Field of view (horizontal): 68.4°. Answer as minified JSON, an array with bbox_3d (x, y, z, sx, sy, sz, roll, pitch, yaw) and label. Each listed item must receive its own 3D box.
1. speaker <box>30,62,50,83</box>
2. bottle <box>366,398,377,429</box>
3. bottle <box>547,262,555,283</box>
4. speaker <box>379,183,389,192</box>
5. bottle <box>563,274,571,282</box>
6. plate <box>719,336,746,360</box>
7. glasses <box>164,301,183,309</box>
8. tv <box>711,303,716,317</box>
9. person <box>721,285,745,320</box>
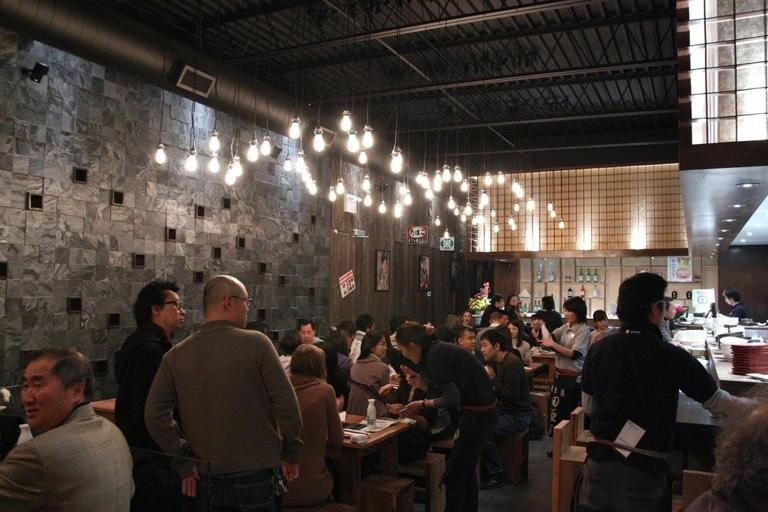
[{"bbox_3d":[-4.375,-2.318,7.137,0.047,0.251,0.180,32,4,36],"label":"speaker"},{"bbox_3d":[-0.125,1.560,5.695,0.085,0.238,0.265,2,-3,-1],"label":"bottle"},{"bbox_3d":[4.556,0.408,15.372,0.198,0.551,0.056,1,-3,28],"label":"bottle"},{"bbox_3d":[-0.028,-1.594,13.098,0.238,0.095,0.343,-1,0,2],"label":"speaker"},{"bbox_3d":[4.951,0.595,15.239,0.183,0.182,0.099,-5,-10,34],"label":"bottle"},{"bbox_3d":[3.243,0.855,5.251,0.258,0.215,0.304,0,-4,1],"label":"plate"},{"bbox_3d":[-1.750,0.400,4.646,0.146,0.047,0.151,-3,-7,12],"label":"glasses"},{"bbox_3d":[7.472,1.222,12.803,0.085,0.288,0.110,0,-10,-13],"label":"tv"},{"bbox_3d":[7.784,1.046,12.598,0.438,0.800,0.795,-2,8,44],"label":"person"}]
